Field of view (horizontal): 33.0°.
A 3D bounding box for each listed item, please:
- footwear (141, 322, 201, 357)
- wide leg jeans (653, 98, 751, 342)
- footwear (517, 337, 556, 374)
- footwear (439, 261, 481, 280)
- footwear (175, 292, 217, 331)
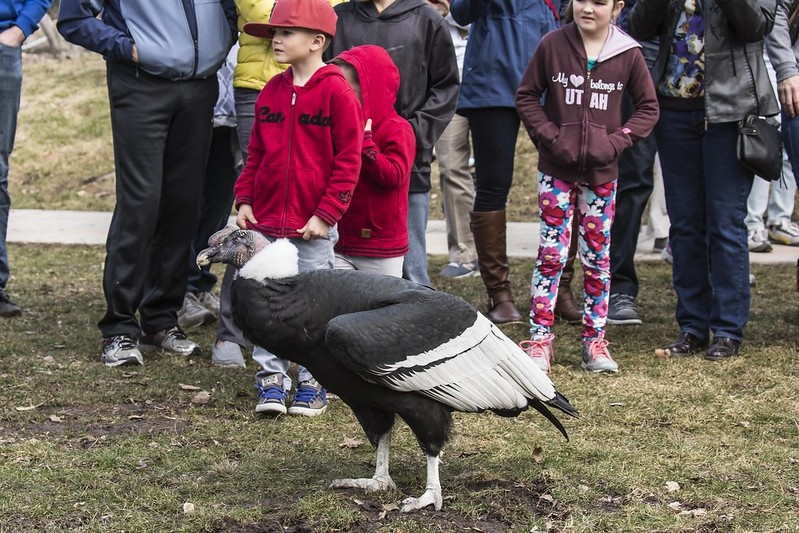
[{"bbox_3d":[-1.905,0.625,11.404,0.559,0.207,0.211,9,4,14],"label":"footwear"},{"bbox_3d":[2.645,-0.466,11.388,0.927,2.139,0.633,-6,-14,26],"label":"wide leg jeans"},{"bbox_3d":[1.152,0.677,11.171,0.235,0.167,0.455,3,11,9],"label":"footwear"},{"bbox_3d":[0.608,0.042,13.558,0.449,0.159,0.151,0,-1,-20],"label":"footwear"},{"bbox_3d":[-1.793,0.392,12.184,0.549,0.342,0.178,-15,-23,33],"label":"footwear"}]
